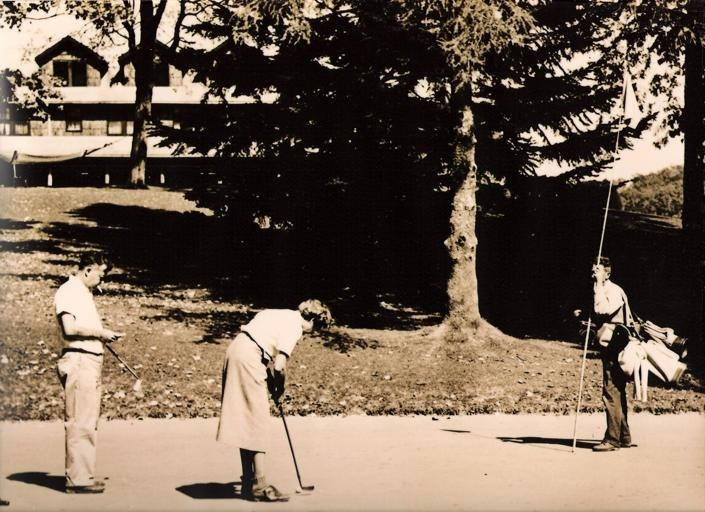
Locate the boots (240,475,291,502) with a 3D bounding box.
[{"bbox_3d":[-1.198,3.156,16.485,0.764,0.334,0.267,-1,0,1],"label":"boots"}]

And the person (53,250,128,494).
[{"bbox_3d":[-3.673,1.678,16.602,0.732,3.076,0.480,2,3,-13],"label":"person"}]
